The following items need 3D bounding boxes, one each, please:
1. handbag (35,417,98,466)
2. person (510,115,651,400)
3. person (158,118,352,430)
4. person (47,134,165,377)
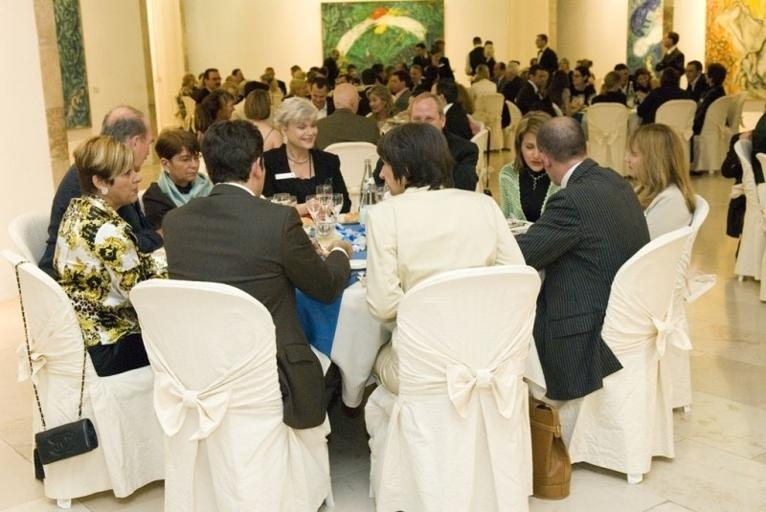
[{"bbox_3d":[-1.444,0.846,2.925,0.270,0.171,0.074,-15,-3,1],"label":"handbag"},{"bbox_3d":[0.986,0.011,3.155,0.561,1.359,0.458,3,13,22],"label":"person"},{"bbox_3d":[-0.530,0.098,2.761,0.779,1.344,0.408,-3,12,-4],"label":"person"},{"bbox_3d":[-1.299,-0.004,3.058,0.477,1.117,0.330,-9,14,-29],"label":"person"}]
